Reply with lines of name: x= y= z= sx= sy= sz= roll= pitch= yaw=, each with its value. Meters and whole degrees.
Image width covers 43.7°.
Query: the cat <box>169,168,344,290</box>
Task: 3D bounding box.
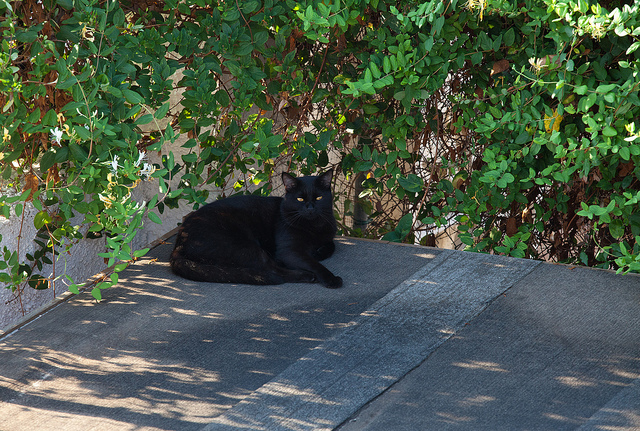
cat: x=-0.328 y=0.051 z=3.784 sx=0.780 sy=0.360 sz=0.669 roll=5 pitch=7 yaw=17
